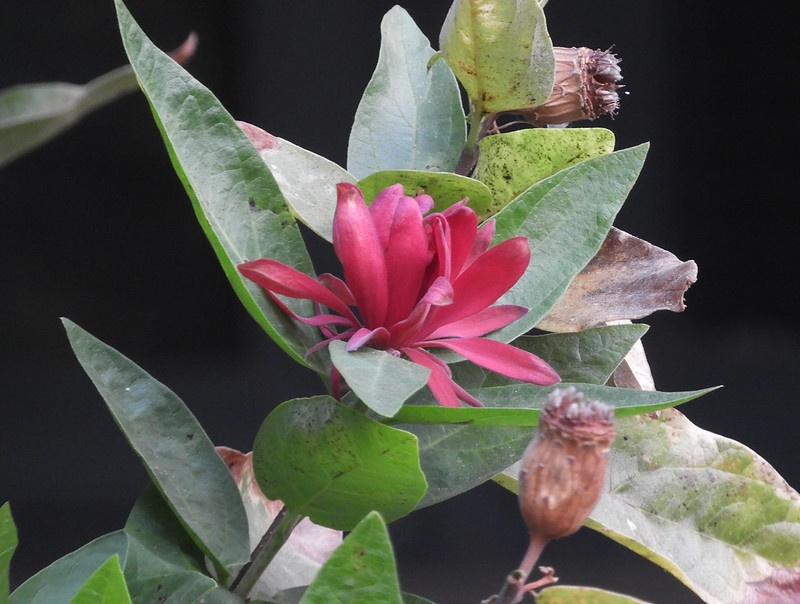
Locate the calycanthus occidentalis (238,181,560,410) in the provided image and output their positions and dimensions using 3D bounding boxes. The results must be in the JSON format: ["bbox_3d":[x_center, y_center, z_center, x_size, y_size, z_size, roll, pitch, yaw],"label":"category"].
[{"bbox_3d":[0.011,-0.016,1.017,0.183,0.113,0.196,15,1,26],"label":"calycanthus occidentalis"}]
